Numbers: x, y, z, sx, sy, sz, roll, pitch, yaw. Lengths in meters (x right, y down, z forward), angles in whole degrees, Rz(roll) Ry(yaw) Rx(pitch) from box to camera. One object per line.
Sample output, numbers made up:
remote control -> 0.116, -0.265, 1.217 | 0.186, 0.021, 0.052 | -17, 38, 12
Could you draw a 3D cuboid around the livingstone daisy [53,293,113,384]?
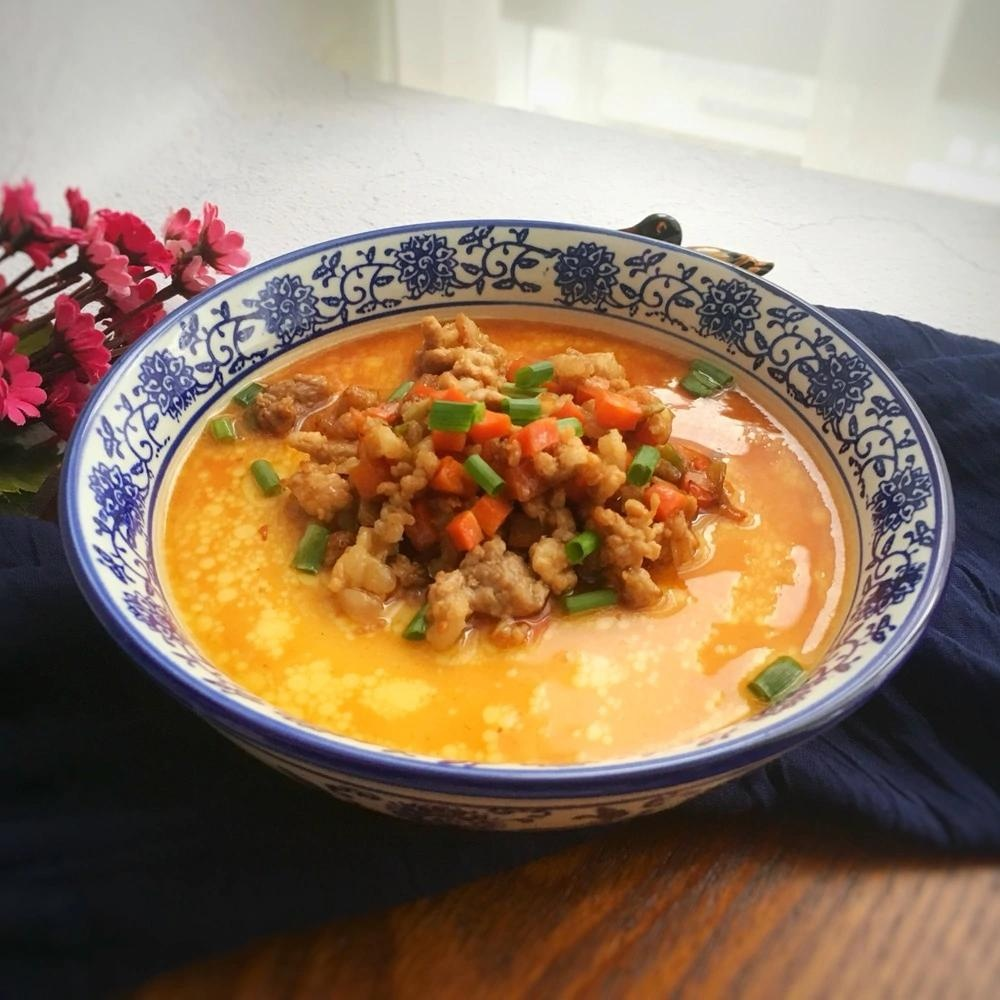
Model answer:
livingstone daisy -> -1.188, -0.464, 3.073 | 0.174, 0.262, 0.226 | -16, 56, -8
